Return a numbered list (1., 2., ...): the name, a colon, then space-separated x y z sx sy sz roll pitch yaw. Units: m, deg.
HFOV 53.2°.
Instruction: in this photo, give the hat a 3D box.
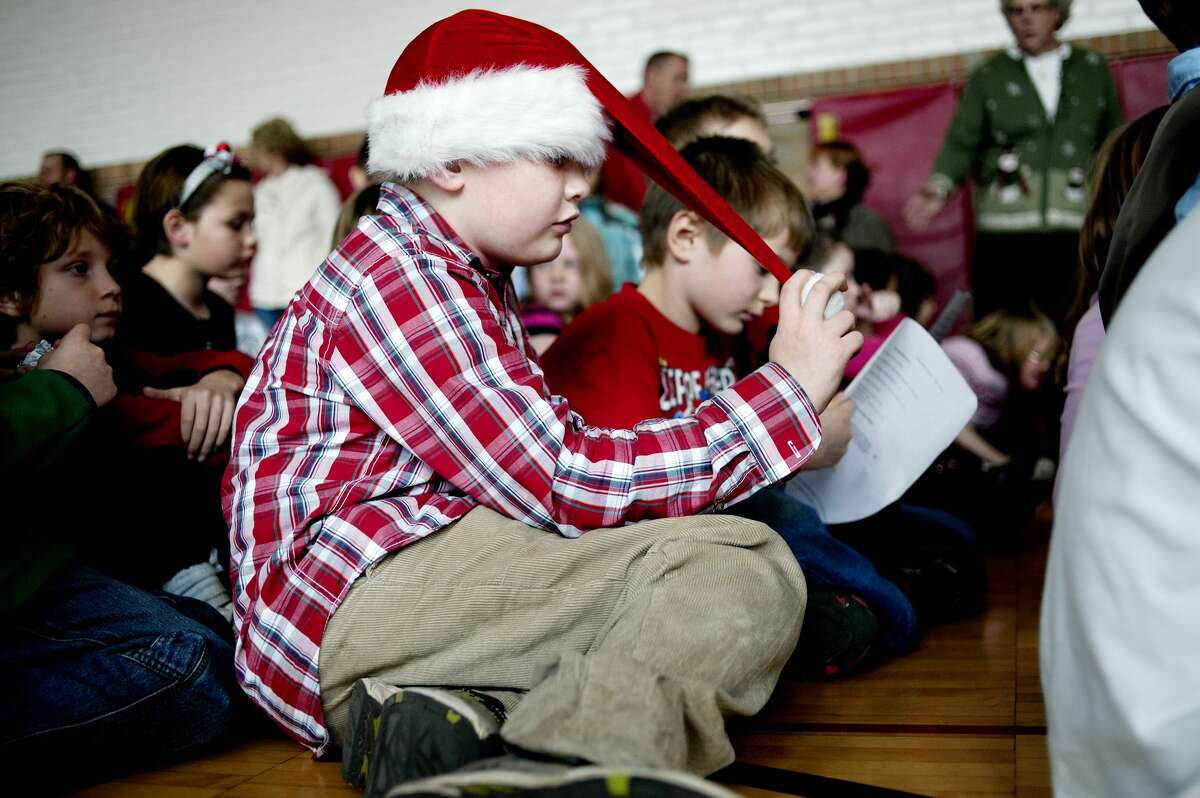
1. hat: -0.131 -0.361 1.440 0.243 0.171 0.187 -4 5 4
